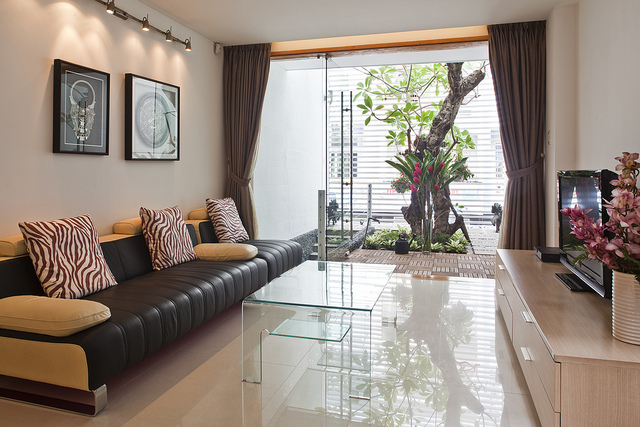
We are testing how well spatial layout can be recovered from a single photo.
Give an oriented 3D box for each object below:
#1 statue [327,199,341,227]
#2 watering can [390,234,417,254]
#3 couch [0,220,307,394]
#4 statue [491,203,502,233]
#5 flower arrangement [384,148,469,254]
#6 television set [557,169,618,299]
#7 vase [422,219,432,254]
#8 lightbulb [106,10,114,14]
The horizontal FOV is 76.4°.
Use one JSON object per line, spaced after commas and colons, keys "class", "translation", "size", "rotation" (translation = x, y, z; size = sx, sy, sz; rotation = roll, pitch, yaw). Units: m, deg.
{"class": "statue", "translation": [0.200, -0.041, 5.524], "size": [0.189, 0.316, 0.084], "rotation": [4, -2, -22]}
{"class": "watering can", "translation": [1.338, 0.508, 6.587], "size": [0.320, 0.286, 0.198], "rotation": [1, 1, 12]}
{"class": "couch", "translation": [-1.352, 0.603, 4.154], "size": [1.037, 0.878, 3.273], "rotation": [4, 11, 24]}
{"class": "statue", "translation": [3.018, 0.059, 6.944], "size": [0.207, 0.498, 0.493], "rotation": [1, -2, 27]}
{"class": "flower arrangement", "translation": [1.760, -0.223, 6.612], "size": [0.780, 1.582, 0.808], "rotation": [-8, 13, -36]}
{"class": "television set", "translation": [2.108, 0.090, 3.189], "size": [0.171, 0.842, 1.145], "rotation": [-2, 5, 17]}
{"class": "vase", "translation": [1.646, 0.353, 6.300], "size": [0.138, 0.568, 0.094], "rotation": [4, 11, 24]}
{"class": "lightbulb", "translation": [-2.061, -1.992, 3.983], "size": [0.037, 0.015, 0.037], "rotation": [4, 5, 0]}
